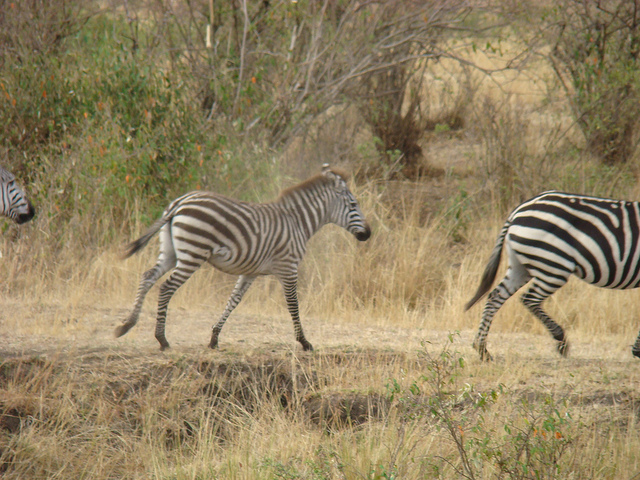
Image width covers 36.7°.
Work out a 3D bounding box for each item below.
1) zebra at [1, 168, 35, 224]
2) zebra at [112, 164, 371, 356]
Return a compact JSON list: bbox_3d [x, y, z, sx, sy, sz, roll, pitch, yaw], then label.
[{"bbox_3d":[-4.445,-0.614,14.023,0.368,0.754,0.482,11,5,24],"label":"zebra"},{"bbox_3d":[-0.921,0.226,12.840,3.275,2.787,0.934,1,14,-23],"label":"zebra"}]
